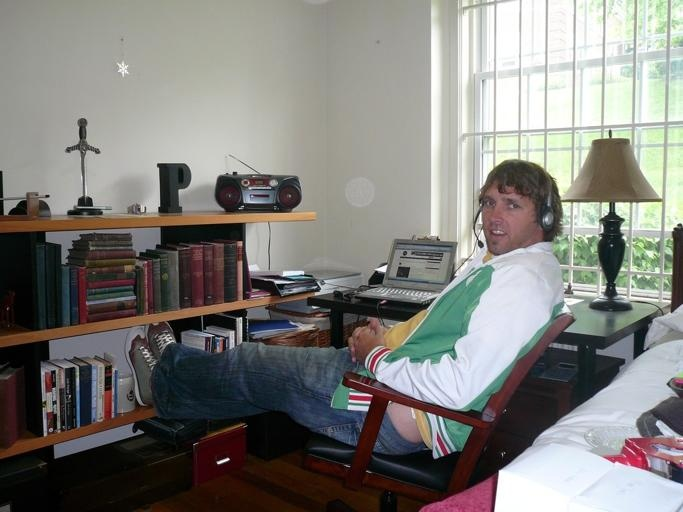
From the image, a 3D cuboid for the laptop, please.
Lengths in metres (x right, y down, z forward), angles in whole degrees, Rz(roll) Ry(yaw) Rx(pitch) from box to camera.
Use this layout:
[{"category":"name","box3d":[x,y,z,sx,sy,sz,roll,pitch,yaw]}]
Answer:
[{"category":"laptop","box3d":[0.337,0.001,2.670,0.398,0.246,0.362,4,10,38]}]

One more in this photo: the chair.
[{"category":"chair","box3d":[0.335,0.489,1.923,0.681,0.865,0.625,10,-2,13]}]

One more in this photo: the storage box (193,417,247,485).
[{"category":"storage box","box3d":[-0.554,0.885,2.452,0.206,0.160,0.214,-3,0,-42]}]

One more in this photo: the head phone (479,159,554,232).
[{"category":"head phone","box3d":[0.659,-0.198,1.919,0.223,0.224,0.227,-2,9,19]}]

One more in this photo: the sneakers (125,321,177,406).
[{"category":"sneakers","box3d":[-0.865,0.474,2.434,0.220,0.411,0.160,4,-17,-35]}]

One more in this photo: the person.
[{"category":"person","box3d":[0.007,0.176,2.123,1.679,1.100,0.955,3,-1,18]}]
